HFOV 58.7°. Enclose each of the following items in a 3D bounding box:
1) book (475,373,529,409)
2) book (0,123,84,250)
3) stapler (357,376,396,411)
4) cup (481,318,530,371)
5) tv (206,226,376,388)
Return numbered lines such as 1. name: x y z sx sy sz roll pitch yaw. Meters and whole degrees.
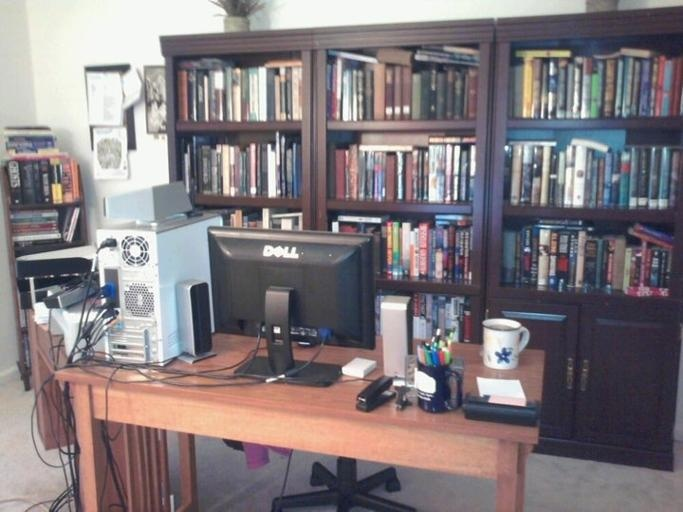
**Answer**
1. book: 0.599 0.514 2.289 0.181 0.034 0.261 0 10 11
2. book: -2.067 -0.460 4.218 0.476 0.874 0.179 -6 11 -26
3. stapler: 0.133 0.508 2.306 0.061 0.087 0.210 8 15 35
4. cup: 0.656 0.357 2.478 0.199 0.186 0.170 0 6 3
5. tv: -0.203 0.205 2.431 0.548 0.466 0.181 3 16 13
